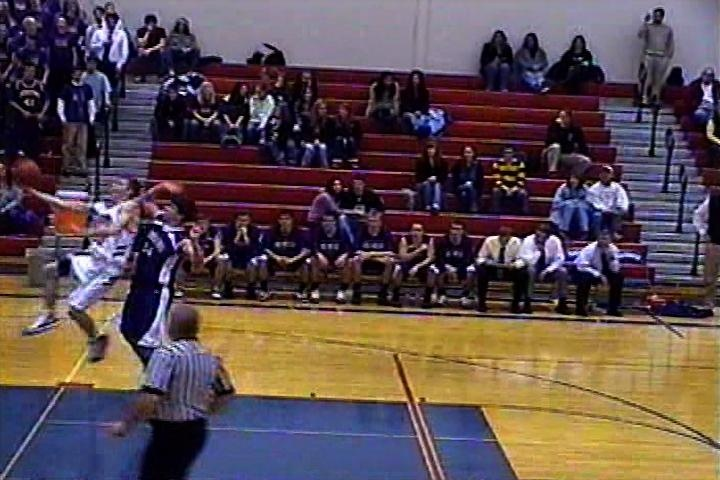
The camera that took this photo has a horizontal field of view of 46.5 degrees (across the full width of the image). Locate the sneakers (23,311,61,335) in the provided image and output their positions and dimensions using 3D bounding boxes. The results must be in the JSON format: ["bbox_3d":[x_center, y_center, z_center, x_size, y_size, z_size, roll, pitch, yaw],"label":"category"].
[{"bbox_3d":[-3.981,1.044,10.523,0.345,0.119,0.270,4,-18,-26],"label":"sneakers"}]

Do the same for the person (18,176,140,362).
[{"bbox_3d":[-3.390,0.261,9.978,1.258,2.234,0.796,11,7,-6],"label":"person"}]
